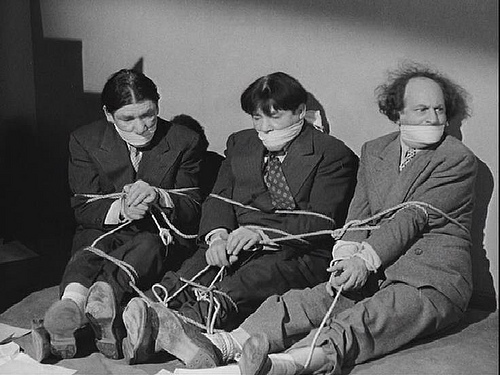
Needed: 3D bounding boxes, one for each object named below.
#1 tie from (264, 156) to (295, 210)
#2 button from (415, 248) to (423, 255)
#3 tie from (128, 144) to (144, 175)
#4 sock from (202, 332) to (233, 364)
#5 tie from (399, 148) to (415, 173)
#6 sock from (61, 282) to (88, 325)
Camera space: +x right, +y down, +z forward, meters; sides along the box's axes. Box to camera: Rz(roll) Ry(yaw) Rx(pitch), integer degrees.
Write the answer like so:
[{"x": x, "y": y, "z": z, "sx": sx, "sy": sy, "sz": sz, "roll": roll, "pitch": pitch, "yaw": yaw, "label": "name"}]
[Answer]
[{"x": 0.173, "y": -0.019, "z": 4.756, "sx": 0.166, "sy": 0.323, "sz": 0.078, "roll": -26, "pitch": -10, "yaw": 31, "label": "tie"}, {"x": 1.019, "y": 0.395, "z": 4.393, "sx": 0.044, "sy": 0.036, "sz": 0.031, "roll": 8, "pitch": 16, "yaw": 12, "label": "button"}, {"x": -0.783, "y": -0.207, "z": 4.993, "sx": 0.172, "sy": 0.172, "sz": 0.046, "roll": -2, "pitch": 4, "yaw": -25, "label": "tie"}, {"x": -0.179, "y": 0.924, "z": 4.145, "sx": 0.160, "sy": 0.138, "sz": 0.109, "roll": 3, "pitch": 16, "yaw": -6, "label": "sock"}, {"x": 0.999, "y": -0.167, "z": 4.580, "sx": 0.042, "sy": 0.141, "sz": 0.102, "roll": 33, "pitch": -10, "yaw": -23, "label": "tie"}, {"x": -1.070, "y": 0.667, "z": 4.360, "sx": 0.141, "sy": 0.102, "sz": 0.255, "roll": 32, "pitch": -7, "yaw": 2, "label": "sock"}]
